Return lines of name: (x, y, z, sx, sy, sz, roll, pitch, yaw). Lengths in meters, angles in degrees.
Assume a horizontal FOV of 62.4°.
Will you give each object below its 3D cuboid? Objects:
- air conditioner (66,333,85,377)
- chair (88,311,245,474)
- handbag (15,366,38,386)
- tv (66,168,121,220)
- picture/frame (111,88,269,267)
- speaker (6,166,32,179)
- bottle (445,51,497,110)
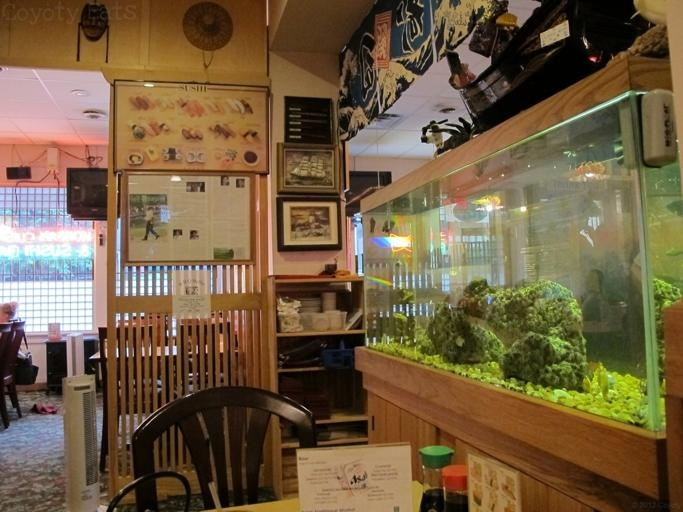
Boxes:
air conditioner: (-3.376, 1.230, 7.185, 0.187, 0.582, 0.116, 6, -26, -31)
chair: (-1.317, 0.880, 4.485, 1.219, 1.172, 0.949, -1, -1, -11)
handbag: (-4.108, 1.548, 7.362, 0.285, 0.213, 0.282, 2, -7, -18)
tv: (-3.090, -0.780, 6.915, 0.652, 0.611, 0.383, -4, 10, -40)
picture/frame: (-1.194, -0.581, 4.230, 1.327, 1.656, 0.068, 0, -4, -14)
speaker: (-4.302, -1.105, 7.525, 0.297, 0.165, 0.193, -1, 3, -1)
bottle: (0.457, -0.675, 2.076, 0.104, 0.269, 0.098, -13, -30, -7)
